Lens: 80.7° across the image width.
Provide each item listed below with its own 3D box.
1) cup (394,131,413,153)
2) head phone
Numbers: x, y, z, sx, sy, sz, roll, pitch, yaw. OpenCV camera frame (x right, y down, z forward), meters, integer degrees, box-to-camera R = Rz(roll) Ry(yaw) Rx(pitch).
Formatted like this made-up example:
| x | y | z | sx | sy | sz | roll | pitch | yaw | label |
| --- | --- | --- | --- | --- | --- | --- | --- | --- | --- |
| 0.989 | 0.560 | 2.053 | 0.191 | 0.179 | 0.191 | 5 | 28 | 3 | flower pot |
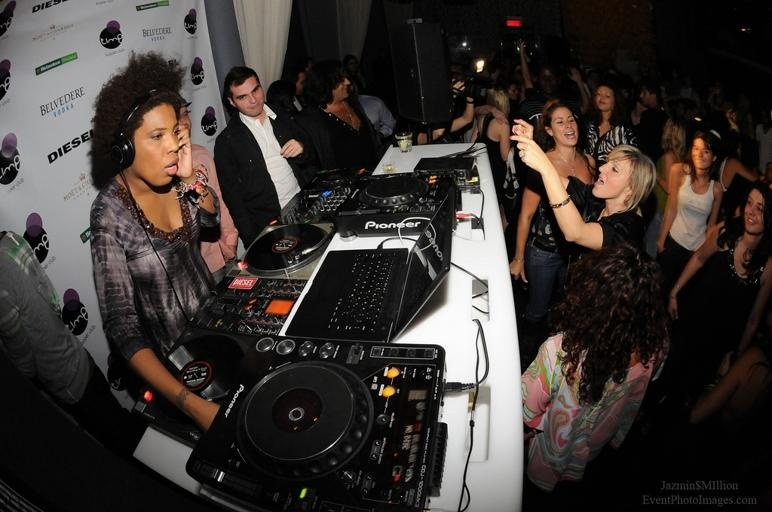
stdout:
| x | y | z | sx | sy | sz | roll | pitch | yaw | label |
| --- | --- | --- | --- | --- | --- | --- | --- | --- | --- |
| 0.167 | -1.050 | 4.225 | 0.206 | 0.183 | 0.219 | -5 | 34 | 4 | cup |
| -1.307 | -0.667 | 2.369 | 0.155 | 0.391 | 0.350 | 29 | 20 | 8 | head phone |
